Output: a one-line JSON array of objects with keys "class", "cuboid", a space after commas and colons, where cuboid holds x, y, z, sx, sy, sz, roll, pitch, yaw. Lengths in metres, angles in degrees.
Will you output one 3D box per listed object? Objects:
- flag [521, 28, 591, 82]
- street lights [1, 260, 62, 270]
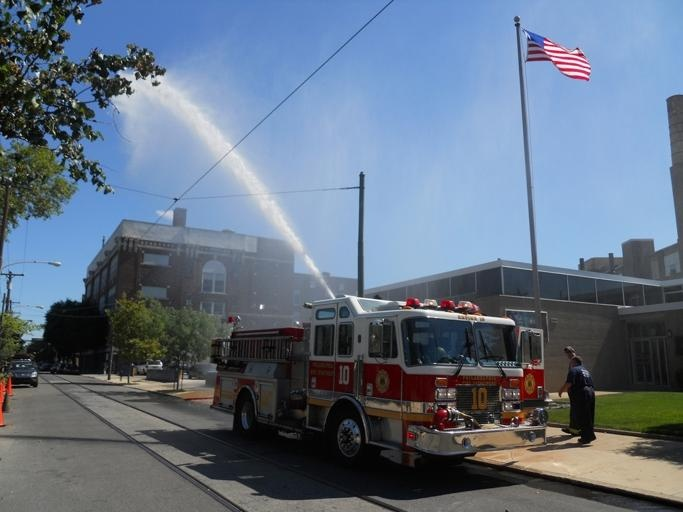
[{"class": "flag", "cuboid": [6.867, -6.442, 18.332, 2.016, 0.237, 1.633, 15, -40, 37]}, {"class": "street lights", "cuboid": [-7.550, 0.177, 14.079, 2.612, 0.331, 0.388, 0, -4, 32]}]
